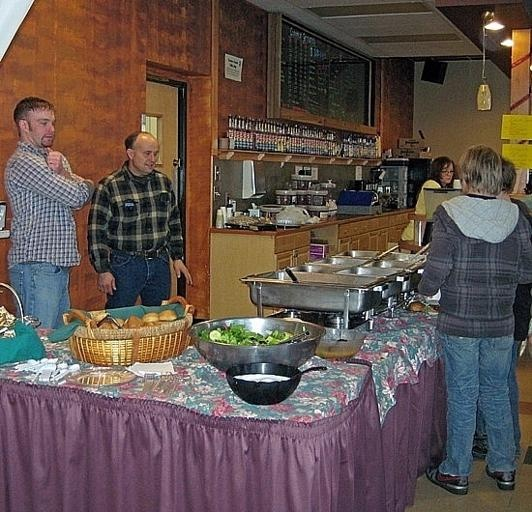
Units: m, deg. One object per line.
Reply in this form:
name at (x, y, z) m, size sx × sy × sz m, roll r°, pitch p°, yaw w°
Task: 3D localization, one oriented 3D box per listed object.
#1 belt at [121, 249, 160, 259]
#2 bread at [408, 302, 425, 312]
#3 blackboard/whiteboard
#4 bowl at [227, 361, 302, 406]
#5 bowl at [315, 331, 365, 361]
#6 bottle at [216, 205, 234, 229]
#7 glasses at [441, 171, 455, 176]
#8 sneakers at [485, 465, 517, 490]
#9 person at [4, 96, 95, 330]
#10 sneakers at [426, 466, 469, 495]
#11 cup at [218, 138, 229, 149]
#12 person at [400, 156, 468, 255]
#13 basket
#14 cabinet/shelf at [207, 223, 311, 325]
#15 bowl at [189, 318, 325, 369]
belt at (-0.872, -0.013, 3.507) m, size 0.271 × 0.056 × 0.041 m, roll -2°, pitch 11°, yaw -21°
bread at (0.820, 0.280, 2.735) m, size 0.045 × 0.063 × 0.038 m, roll -8°, pitch -1°, yaw -2°
blackboard/whiteboard at (0.779, -2.641, 7.216) m, size 0.115 × 0.841 × 2.294 m, roll 5°, pitch 7°, yaw 35°
bowl at (-0.025, 0.345, 1.452) m, size 0.184 × 0.046 × 0.170 m, roll 0°, pitch -7°, yaw 0°
bowl at (0.280, 0.310, 1.834) m, size 0.132 × 0.046 × 0.132 m, roll 1°, pitch 6°, yaw 0°
bottle at (-0.473, -0.430, 5.610) m, size 0.254 × 0.295 × 0.251 m, roll 2°, pitch -6°, yaw -4°
glasses at (2.058, -0.930, 5.696) m, size 0.086 × 0.021 × 0.085 m, roll 2°, pitch -4°, yaw -39°
sneakers at (1.248, 1.160, 2.669) m, size 0.077 × 0.066 × 0.188 m, roll 0°, pitch 7°, yaw 4°
person at (-1.335, -0.251, 3.096) m, size 0.472 × 1.394 × 0.425 m, roll -7°, pitch 14°, yaw -39°
sneakers at (0.922, 1.141, 2.637) m, size 0.234 × 0.085 × 0.087 m, roll 19°, pitch 15°, yaw 40°
cup at (-0.478, -1.250, 5.616) m, size 0.141 × 0.108 × 0.111 m, roll -2°, pitch 12°, yaw -13°
person at (1.841, -0.637, 5.745) m, size 0.612 × 1.066 × 0.401 m, roll -4°, pitch 40°, yaw 1°
basket at (-0.485, 0.268, 1.760) m, size 0.336 × 0.112 × 0.250 m, roll -5°, pitch -1°, yaw 19°
cabinet/shelf at (0.017, 0.213, 5.897) m, size 0.722 × 1.023 × 1.249 m, roll 1°, pitch 1°, yaw 33°
bowl at (-0.007, 0.275, 1.571) m, size 0.263 × 0.069 × 0.239 m, roll 1°, pitch 2°, yaw 0°
